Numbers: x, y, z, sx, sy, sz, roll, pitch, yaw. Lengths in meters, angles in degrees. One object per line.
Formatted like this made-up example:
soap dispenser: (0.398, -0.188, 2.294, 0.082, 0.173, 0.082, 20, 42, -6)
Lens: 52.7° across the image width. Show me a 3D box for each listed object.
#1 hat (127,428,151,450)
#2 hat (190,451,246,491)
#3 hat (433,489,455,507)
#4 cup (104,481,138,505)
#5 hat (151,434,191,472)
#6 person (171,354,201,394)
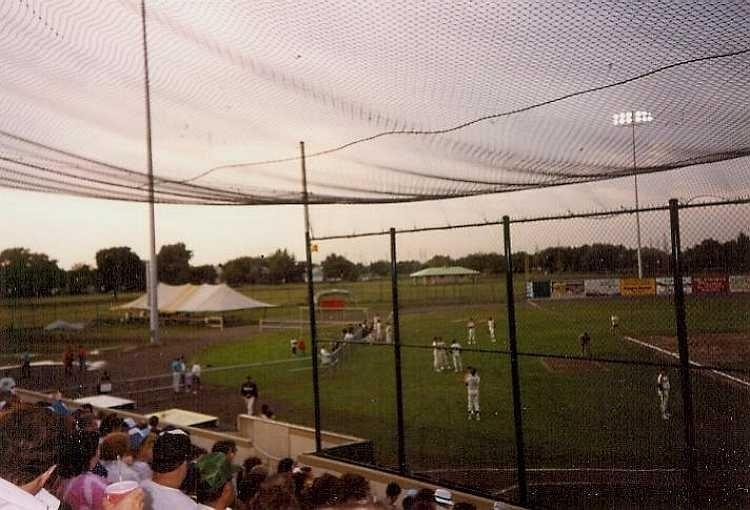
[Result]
hat: (-3.767, 2.877, 12.081, 0.369, 0.196, 0.516, -3, 9, -1)
hat: (-2.254, 3.085, 10.879, 0.582, 0.597, 1.114, 5, -9, -10)
hat: (0.991, 3.639, 11.538, 0.272, 0.185, 0.360, 5, -4, -28)
cup: (-3.191, 2.937, 9.506, 0.296, 0.240, 0.313, -2, -11, 0)
hat: (-2.609, 2.570, 9.939, 0.508, 0.520, 0.398, 7, -10, -6)
person: (-6.999, 4.417, 27.907, 1.271, 1.751, 0.603, 2, 6, 5)
